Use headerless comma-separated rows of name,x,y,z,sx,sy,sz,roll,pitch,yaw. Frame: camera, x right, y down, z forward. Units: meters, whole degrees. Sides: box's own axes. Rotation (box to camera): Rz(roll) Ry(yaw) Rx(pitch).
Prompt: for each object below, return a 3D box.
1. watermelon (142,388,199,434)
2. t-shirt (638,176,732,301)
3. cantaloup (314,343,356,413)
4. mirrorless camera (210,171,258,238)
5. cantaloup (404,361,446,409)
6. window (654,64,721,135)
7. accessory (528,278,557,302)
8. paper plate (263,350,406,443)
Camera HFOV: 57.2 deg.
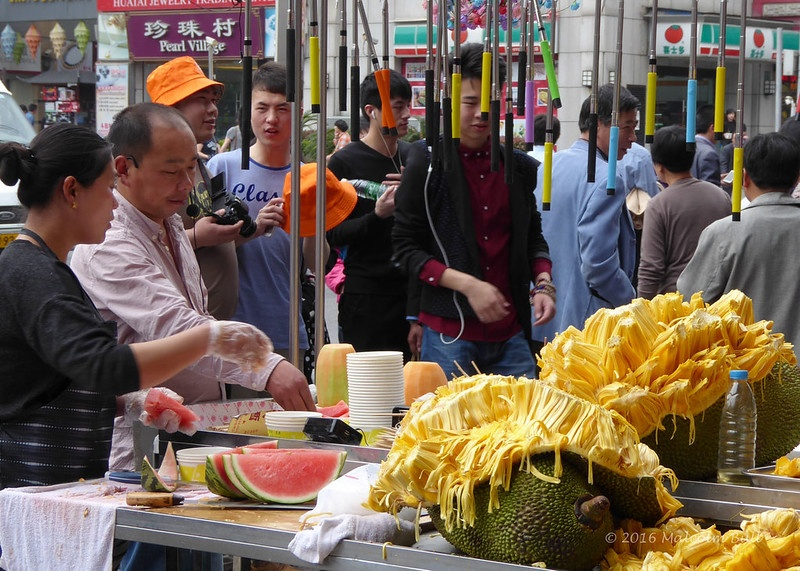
watermelon,-0.721,0.402,2.281,0.147,0.069,0.151,17,-17,6
t-shirt,1.792,-0.226,4.451,0.626,0.879,0.364,-3,-17,6
cantaloup,-0.249,0.336,2.704,0.196,0.287,0.202,0,0,-1
mirrorless camera,-0.810,-0.384,3.563,0.201,0.163,0.291,40,21,-33
cantaloup,0.081,0.360,2.714,0.159,0.160,0.166,1,5,10
window,5.250,-3.678,14.269,1.064,1.082,0.636,-2,33,13
accessory,0.634,0.030,3.251,0.091,0.097,0.071,4,31,-4
paper plate,-0.163,0.359,2.541,0.291,0.341,0.303,0,-1,5
